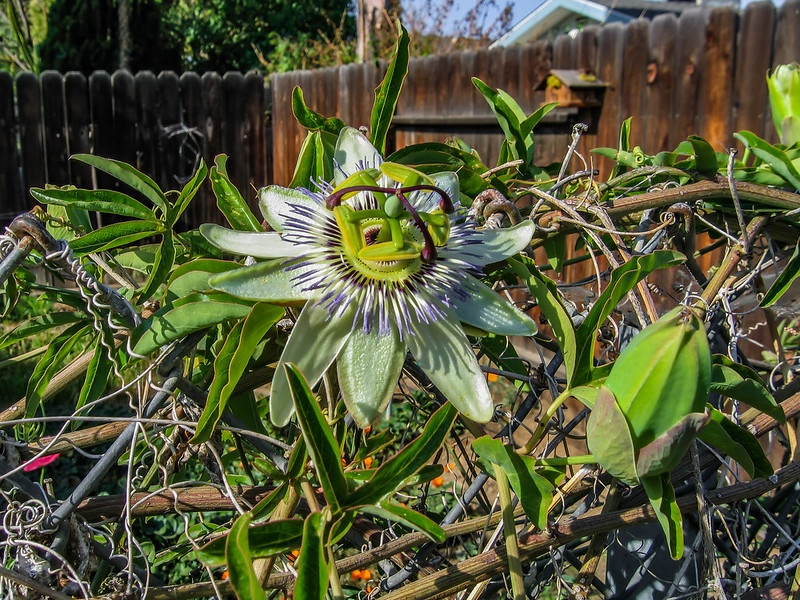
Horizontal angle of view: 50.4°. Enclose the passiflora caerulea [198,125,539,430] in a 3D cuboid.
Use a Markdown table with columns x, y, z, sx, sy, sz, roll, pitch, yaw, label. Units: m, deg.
| x | y | z | sx | sy | sz | roll | pitch | yaw | label |
| --- | --- | --- | --- | --- | --- | --- | --- | --- | --- |
| -0.033 | -0.016 | 0.949 | 0.375 | 0.253 | 0.169 | -2 | 17 | 0 | passiflora caerulea |
